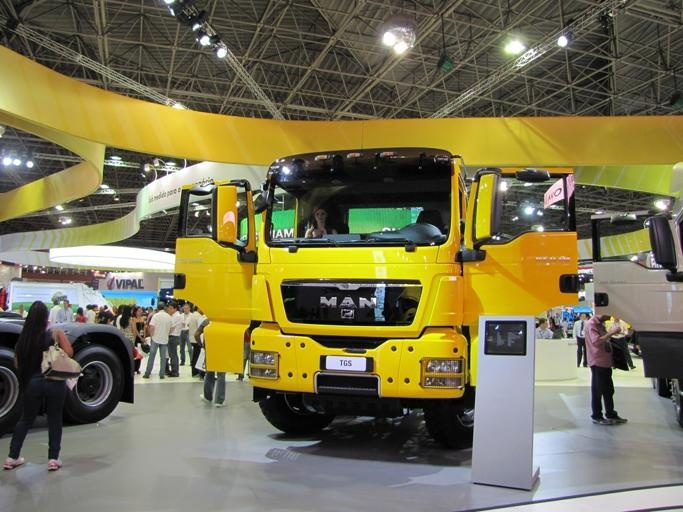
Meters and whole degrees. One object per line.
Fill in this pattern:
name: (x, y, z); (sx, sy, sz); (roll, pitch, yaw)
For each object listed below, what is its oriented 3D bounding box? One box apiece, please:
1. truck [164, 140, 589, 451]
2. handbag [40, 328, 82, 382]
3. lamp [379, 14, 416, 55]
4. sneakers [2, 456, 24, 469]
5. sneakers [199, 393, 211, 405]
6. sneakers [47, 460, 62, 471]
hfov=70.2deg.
truck: (0.753, 0.113, 7.177); (4.426, 2.650, 4.175); (-3, -11, 17)
handbag: (-3.056, 1.077, 5.313); (0.361, 0.540, 0.237); (5, -7, -32)
lamp: (1.436, -5.516, 11.980); (0.860, 0.899, 0.459); (4, -7, -27)
sneakers: (-3.546, 2.223, 5.271); (0.183, 0.124, 0.150); (5, -7, -36)
sneakers: (-2.449, 2.572, 8.788); (0.126, 0.150, 0.364); (0, 8, -44)
sneakers: (-3.094, 2.247, 5.253); (0.126, 0.103, 0.135); (4, -7, -28)
